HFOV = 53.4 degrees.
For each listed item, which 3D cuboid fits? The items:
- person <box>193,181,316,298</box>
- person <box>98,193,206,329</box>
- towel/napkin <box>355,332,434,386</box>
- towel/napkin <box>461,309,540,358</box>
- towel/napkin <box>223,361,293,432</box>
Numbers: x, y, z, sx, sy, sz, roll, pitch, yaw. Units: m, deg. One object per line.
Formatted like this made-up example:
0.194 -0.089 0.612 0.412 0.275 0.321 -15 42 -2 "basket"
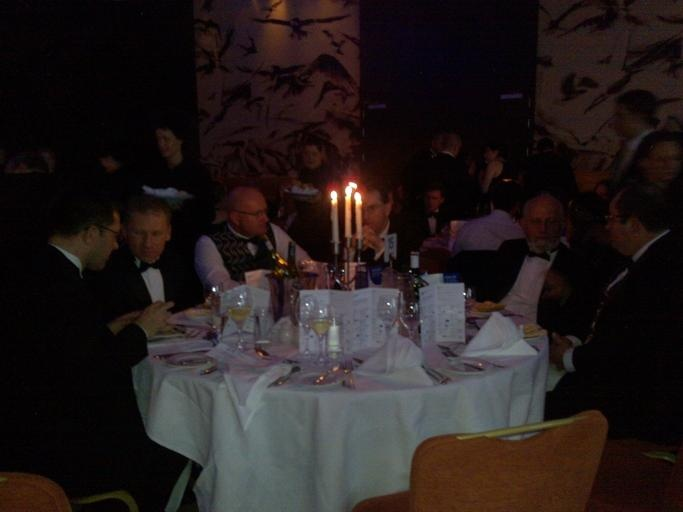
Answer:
-0.705 -0.138 5.423 0.629 1.235 0.786 7 21 36 "person"
-1.293 0.045 4.577 0.964 0.940 0.589 -6 8 -44 "person"
0.246 0.445 3.022 0.202 0.096 0.269 4 9 28 "towel/napkin"
0.749 0.401 3.239 0.245 0.098 0.251 0 12 21 "towel/napkin"
-0.391 0.607 2.939 0.273 0.261 0.081 1 -14 -6 "towel/napkin"
